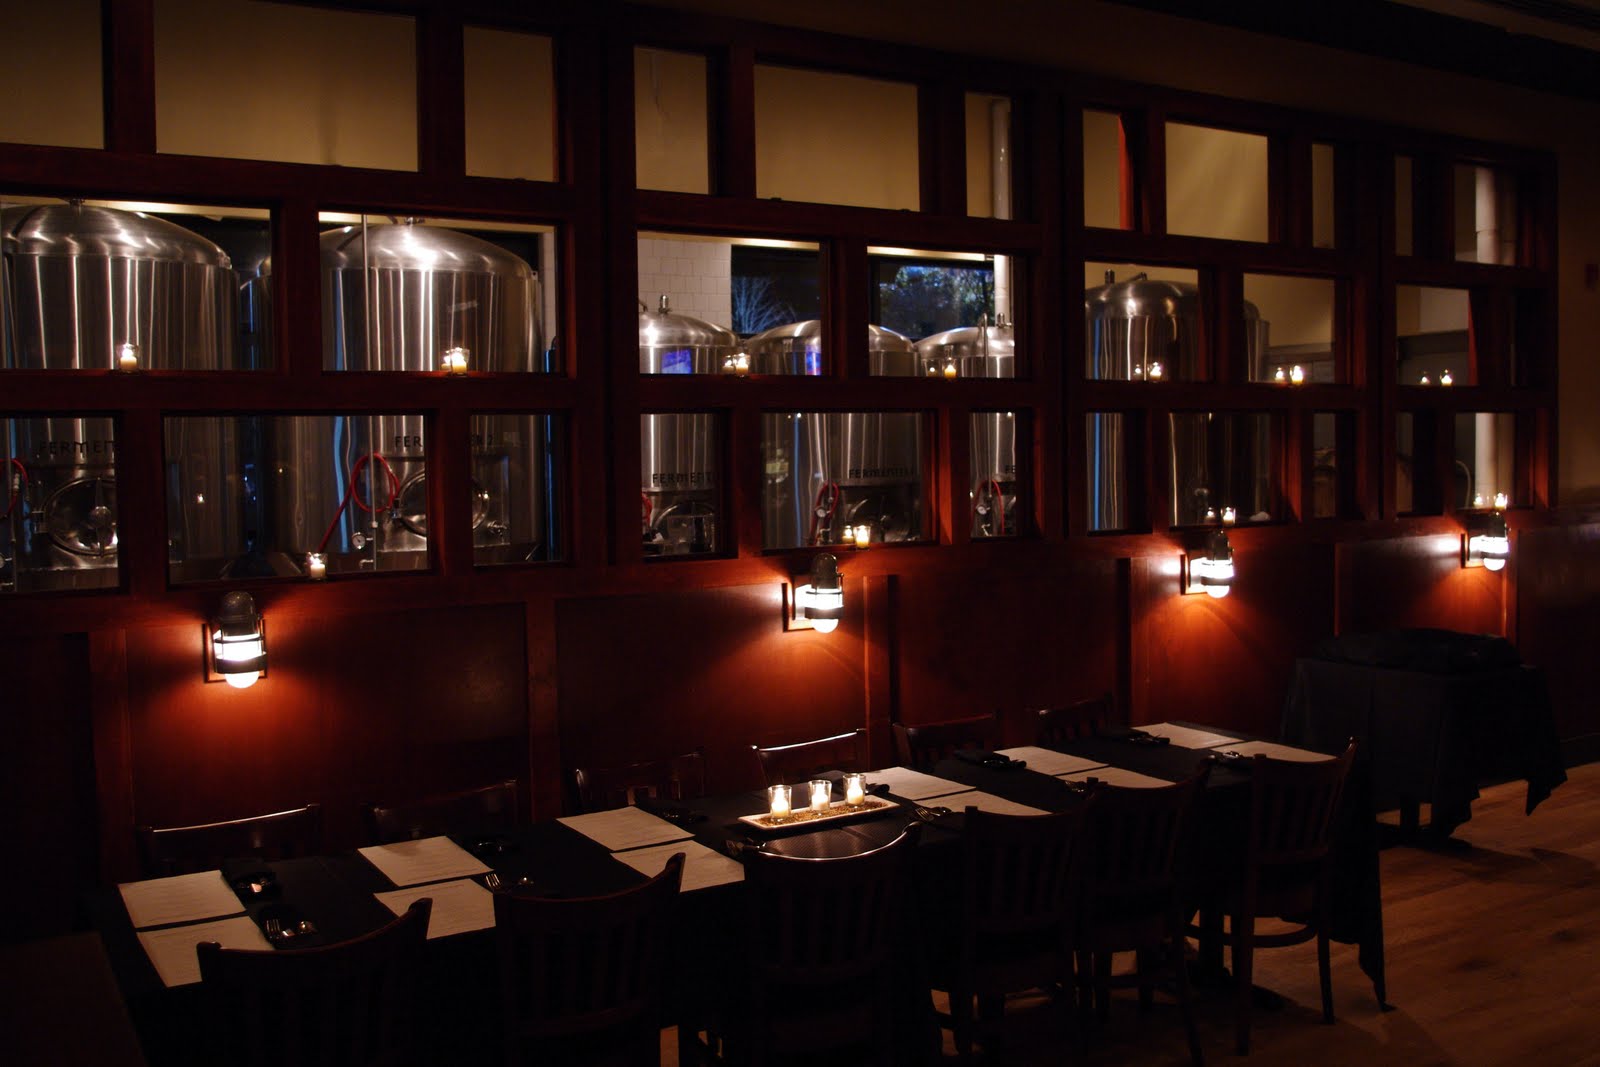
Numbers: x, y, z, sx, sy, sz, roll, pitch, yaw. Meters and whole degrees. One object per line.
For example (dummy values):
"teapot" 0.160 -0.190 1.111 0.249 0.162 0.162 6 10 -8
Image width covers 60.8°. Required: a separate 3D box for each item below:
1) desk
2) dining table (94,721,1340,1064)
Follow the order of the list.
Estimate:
"desk" 3.980 1.209 8.910 1.711 1.122 1.714 1 -3 -10
"dining table" 0.010 1.904 5.919 4.933 1.405 0.875 -5 3 -21
